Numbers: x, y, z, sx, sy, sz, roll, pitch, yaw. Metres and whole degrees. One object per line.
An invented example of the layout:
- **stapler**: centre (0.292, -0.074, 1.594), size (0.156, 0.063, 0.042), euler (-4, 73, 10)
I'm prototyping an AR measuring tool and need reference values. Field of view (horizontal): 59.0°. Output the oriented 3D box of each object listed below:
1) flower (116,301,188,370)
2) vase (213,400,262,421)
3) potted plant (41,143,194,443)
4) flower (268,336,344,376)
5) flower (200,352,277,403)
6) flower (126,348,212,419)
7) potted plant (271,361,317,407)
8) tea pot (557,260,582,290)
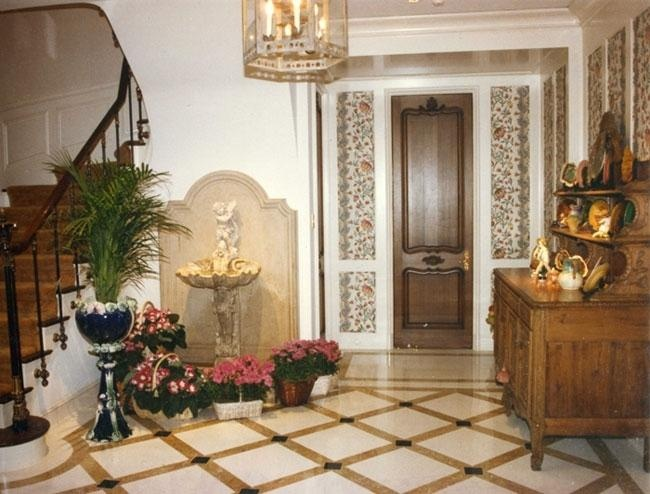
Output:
- **flower**: centre (-1.545, 0.776, 5.155), size (0.527, 0.320, 0.542), euler (-19, 13, 9)
- **vase**: centre (-0.726, 1.375, 4.923), size (0.288, 0.099, 0.189), euler (0, -9, -6)
- **potted plant**: centre (-2.243, 0.173, 5.992), size (1.657, 2.197, 3.465), euler (-3, 10, -14)
- **flower**: centre (-0.159, 0.935, 5.083), size (0.355, 0.256, 0.434), euler (-5, -4, 43)
- **flower**: centre (-0.722, 1.079, 4.928), size (0.416, 0.329, 0.455), euler (-1, 1, 13)
- **flower**: centre (-1.313, 1.154, 4.813), size (0.573, 0.305, 0.582), euler (4, 31, -24)
- **potted plant**: centre (-0.269, 1.188, 5.054), size (0.359, 0.253, 0.367), euler (1, -10, 2)
- **tea pot**: centre (1.908, 0.208, 4.488), size (0.171, 0.242, 0.193), euler (-1, 15, 9)
